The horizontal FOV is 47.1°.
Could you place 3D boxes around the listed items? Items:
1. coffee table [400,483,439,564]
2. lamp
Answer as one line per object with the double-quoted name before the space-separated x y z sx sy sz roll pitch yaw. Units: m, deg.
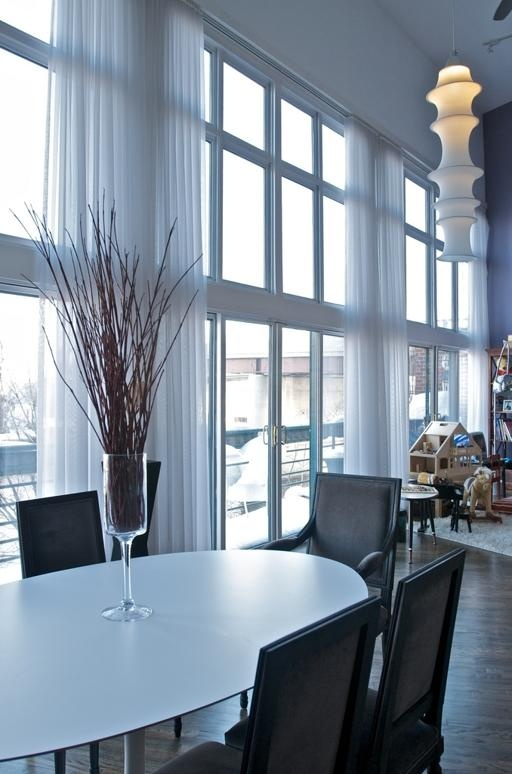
"coffee table" 1.362 1.133 4.830 0.343 0.476 0.347 -11 -7 44
"lamp" 1.230 -1.451 3.623 0.308 1.272 0.593 0 -3 19
